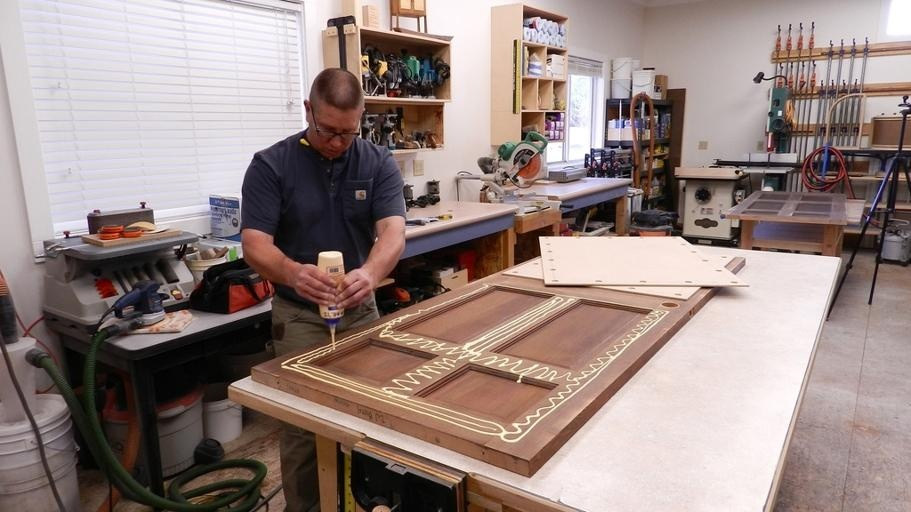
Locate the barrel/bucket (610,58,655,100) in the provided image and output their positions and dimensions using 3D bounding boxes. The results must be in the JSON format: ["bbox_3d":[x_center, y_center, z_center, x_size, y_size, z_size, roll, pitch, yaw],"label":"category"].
[{"bbox_3d":[2.690,-2.752,8.107,0.843,0.644,0.563,5,19,19],"label":"barrel/bucket"}]

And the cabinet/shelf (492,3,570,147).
[{"bbox_3d":[0.863,-2.100,6.206,0.512,1.553,1.061,16,24,42],"label":"cabinet/shelf"}]

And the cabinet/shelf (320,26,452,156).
[{"bbox_3d":[-0.435,-1.513,4.986,0.506,1.142,1.478,15,22,18],"label":"cabinet/shelf"}]

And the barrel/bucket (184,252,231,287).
[{"bbox_3d":[-1.837,0.092,3.894,0.281,0.246,0.255,-7,2,44],"label":"barrel/bucket"}]

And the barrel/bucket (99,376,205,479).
[{"bbox_3d":[-2.110,1.173,3.856,0.634,0.555,0.689,0,10,0],"label":"barrel/bucket"}]
